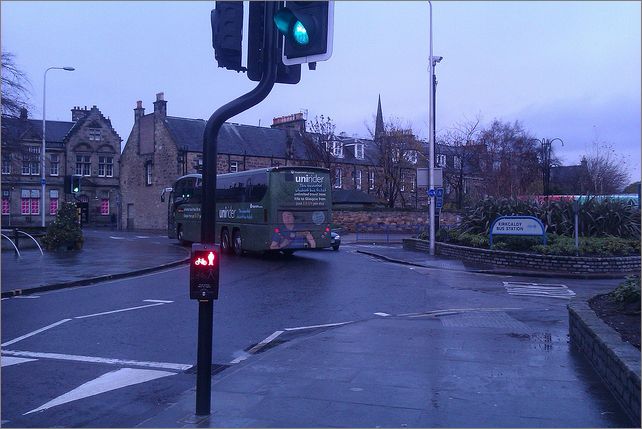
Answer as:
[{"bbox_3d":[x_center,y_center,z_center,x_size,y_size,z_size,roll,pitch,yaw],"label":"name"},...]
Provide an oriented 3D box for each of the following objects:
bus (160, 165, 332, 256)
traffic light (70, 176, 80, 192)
[{"bbox_3d":[-3.118,-0.164,29.699,3.285,3.524,9.690,0,2,-34],"label":"bus"},{"bbox_3d":[-11.022,-1.350,29.302,0.383,0.773,0.980,-2,6,-23],"label":"traffic light"}]
